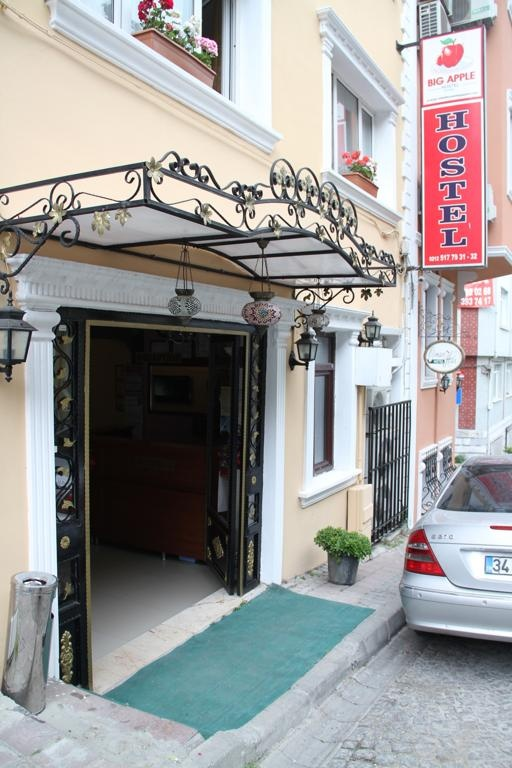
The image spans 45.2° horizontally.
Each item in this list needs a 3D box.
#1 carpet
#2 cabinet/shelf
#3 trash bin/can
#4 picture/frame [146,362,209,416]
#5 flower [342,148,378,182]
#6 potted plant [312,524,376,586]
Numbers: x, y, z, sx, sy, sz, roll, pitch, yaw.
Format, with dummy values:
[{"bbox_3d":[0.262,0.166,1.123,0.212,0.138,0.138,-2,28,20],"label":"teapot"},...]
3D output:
[{"bbox_3d":[-0.053,1.977,4.565,1.065,0.093,2.325,3,-1,29],"label":"carpet"},{"bbox_3d":[-1.016,1.218,7.206,1.942,1.537,1.090,0,-1,33],"label":"cabinet/shelf"},{"bbox_3d":[-1.103,1.268,3.000,0.221,0.702,0.236,3,-1,-26],"label":"trash bin/can"},{"bbox_3d":[-0.968,0.052,7.474,0.850,0.552,0.173,3,-1,36],"label":"picture/frame"},{"bbox_3d":[1.279,-2.610,7.631,0.377,0.540,0.604,4,27,1],"label":"flower"},{"bbox_3d":[0.863,1.764,6.251,0.477,0.501,0.430,3,-1,-14],"label":"potted plant"}]
